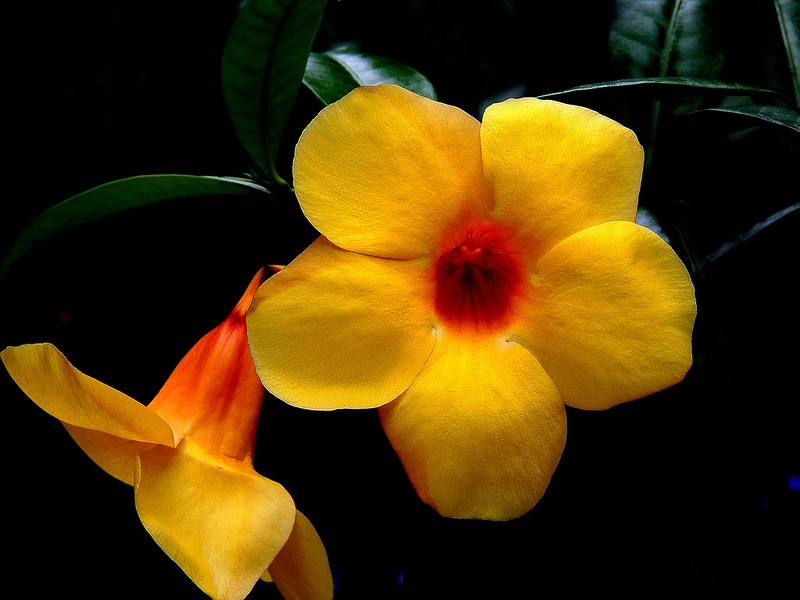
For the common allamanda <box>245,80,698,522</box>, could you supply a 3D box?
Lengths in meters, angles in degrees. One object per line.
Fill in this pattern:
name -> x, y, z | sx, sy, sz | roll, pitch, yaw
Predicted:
common allamanda -> 0.100, 0.005, 1.079 | 0.560, 0.420, 0.397 | 10, 46, 10
